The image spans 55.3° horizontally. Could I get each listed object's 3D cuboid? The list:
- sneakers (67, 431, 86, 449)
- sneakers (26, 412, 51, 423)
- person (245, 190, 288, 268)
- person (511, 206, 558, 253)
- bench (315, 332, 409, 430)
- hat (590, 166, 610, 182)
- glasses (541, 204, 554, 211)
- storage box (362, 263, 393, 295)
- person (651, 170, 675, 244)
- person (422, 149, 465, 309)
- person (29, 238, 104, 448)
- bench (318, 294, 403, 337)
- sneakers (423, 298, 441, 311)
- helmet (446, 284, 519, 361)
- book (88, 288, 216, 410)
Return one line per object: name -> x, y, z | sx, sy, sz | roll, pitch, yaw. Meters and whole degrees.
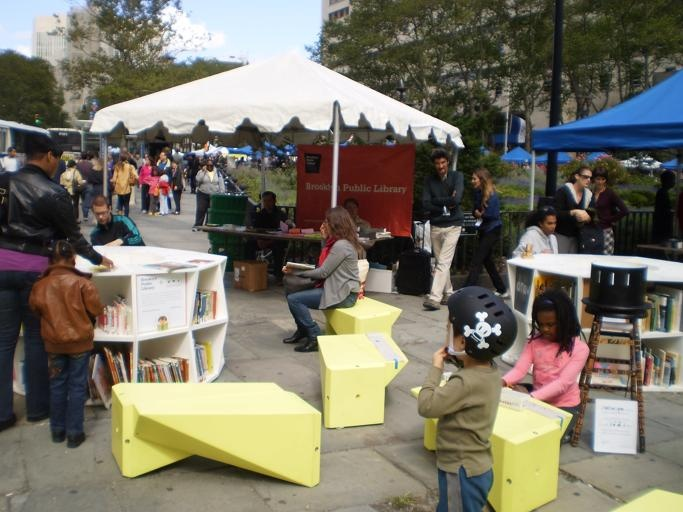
sneakers -> -2.279, 1.568, 5.609 | 0.067, 0.121, 0.178 | 6, 17, 15
sneakers -> -2.776, 1.470, 5.958 | 0.196, 0.086, 0.067 | -2, 8, -20
person -> -1.282, -0.451, 11.442 | 0.801, 1.499, 0.789 | -16, -21, 35
person -> 2.435, -0.299, 8.133 | 0.340, 0.581, 0.710 | 11, 17, 35
bench -> 0.209, 1.176, 6.316 | 0.761, 0.525, 0.808 | 0, 5, -10
hat -> 3.704, -1.177, 9.320 | 0.186, 0.221, 0.233 | 4, 3, 16
glasses -> 2.779, -0.649, 8.751 | 0.204, 0.068, 0.207 | 8, 13, 38
storage box -> 0.627, 0.383, 11.070 | 0.441, 0.283, 0.456 | 3, 7, 17
person -> 6.382, -0.921, 12.840 | 0.386, 1.435, 1.004 | 8, 16, 26
person -> 1.565, -0.432, 10.127 | 0.619, 2.370, 0.960 | 3, 14, 7
person -> -2.345, 0.742, 5.638 | 0.524, 1.685, 0.549 | -9, 17, -33
bench -> 0.262, 0.766, 7.590 | 0.715, 0.422, 0.816 | -7, 16, -27
sneakers -> 1.388, 0.749, 10.027 | 0.138, 0.172, 0.250 | -3, -21, 45
helmet -> 0.912, 0.408, 4.153 | 0.364, 0.372, 0.499 | 7, -11, -24
book -> -1.863, 0.877, 6.188 | 1.141, 0.973, 0.399 | -1, 1, -40
